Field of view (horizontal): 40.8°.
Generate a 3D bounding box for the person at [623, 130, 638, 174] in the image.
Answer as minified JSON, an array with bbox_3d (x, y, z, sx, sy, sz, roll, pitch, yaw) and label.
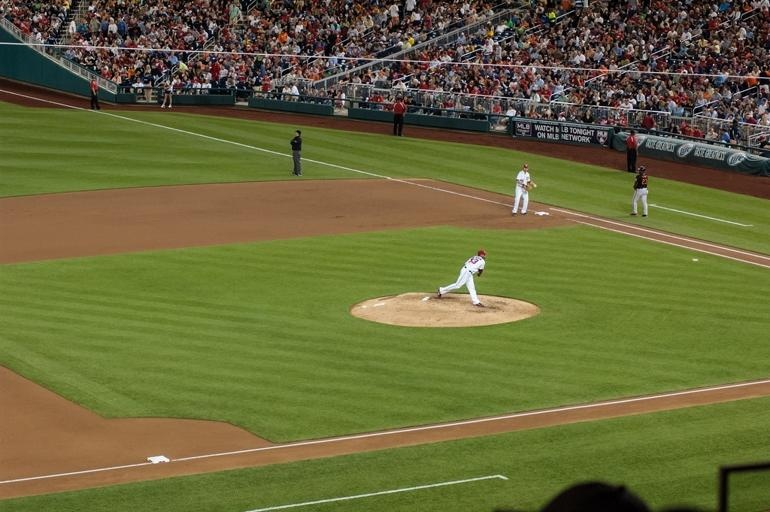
[{"bbox_3d":[11.541,-4.811,48.818,0.534,1.779,1.290,7,9,12],"label":"person"}]
